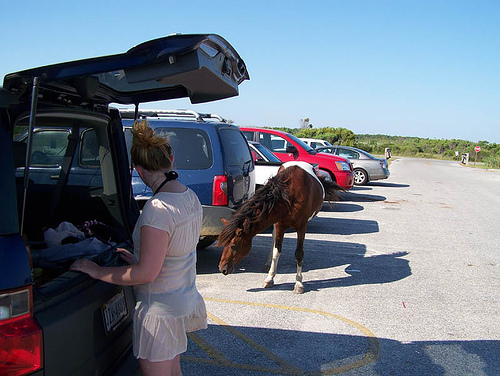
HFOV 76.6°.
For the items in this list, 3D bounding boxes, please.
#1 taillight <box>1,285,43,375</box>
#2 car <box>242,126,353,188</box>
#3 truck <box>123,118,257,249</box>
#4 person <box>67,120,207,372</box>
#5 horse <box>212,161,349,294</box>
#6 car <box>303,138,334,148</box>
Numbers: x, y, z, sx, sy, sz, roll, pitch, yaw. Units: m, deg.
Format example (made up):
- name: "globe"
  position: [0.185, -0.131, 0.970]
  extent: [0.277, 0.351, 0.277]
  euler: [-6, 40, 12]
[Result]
- name: "taillight"
  position: [-1.075, 0.672, 1.488]
  extent: [0.079, 0.408, 0.168]
  euler: [8, 8, 43]
- name: "car"
  position: [2.192, -1.275, 13.371]
  extent: [4.825, 2.092, 2.392]
  euler: [2, 7, 10]
- name: "truck"
  position: [-1.860, -0.269, 6.263]
  extent: [3.284, 1.739, 1.880]
  euler: [5, 8, 18]
- name: "person"
  position: [-0.602, 0.409, 2.037]
  extent: [0.719, 1.592, 0.391]
  euler: [-1, 7, -26]
- name: "horse"
  position: [0.622, 0.688, 6.041]
  extent: [1.252, 2.120, 2.984]
  euler: [6, 7, 31]
- name: "car"
  position: [4.964, -2.994, 23.003]
  extent: [1.707, 0.901, 1.191]
  euler: [-5, 8, -11]
